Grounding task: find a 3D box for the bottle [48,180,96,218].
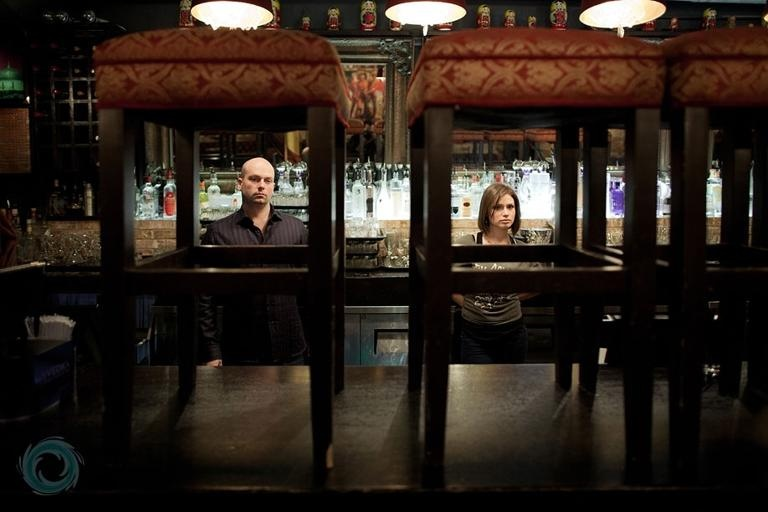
[{"bbox_3d":[-2.370,-0.423,5.453,0.290,0.257,0.151,1,-11,-13],"label":"bottle"}]
